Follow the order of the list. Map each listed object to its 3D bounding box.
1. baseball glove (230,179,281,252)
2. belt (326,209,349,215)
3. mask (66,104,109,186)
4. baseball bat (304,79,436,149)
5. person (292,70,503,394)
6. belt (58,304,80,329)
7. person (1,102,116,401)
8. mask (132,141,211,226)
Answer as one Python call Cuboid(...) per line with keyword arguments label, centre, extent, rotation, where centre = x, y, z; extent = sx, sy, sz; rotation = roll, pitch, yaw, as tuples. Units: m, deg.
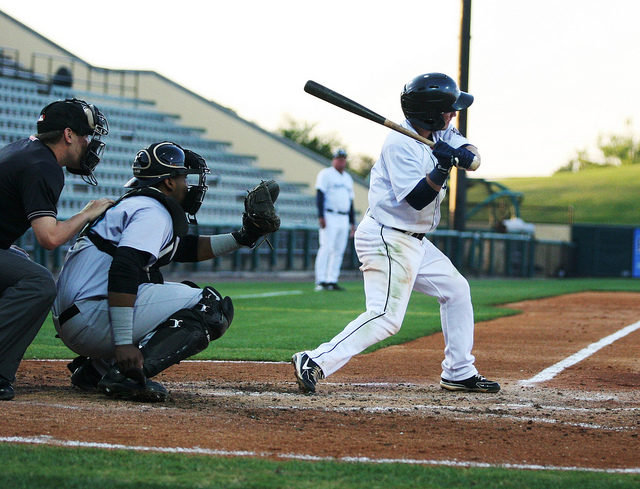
Cuboid(label="baseball glove", centre=(-0.427, -0.214, 7.496), extent=(0.280, 0.483, 0.282), rotation=(-9, 15, -41))
Cuboid(label="belt", centre=(0.228, -0.409, 13.988), extent=(0.287, 0.055, 0.087), rotation=(2, 1, -38))
Cuboid(label="mask", centre=(-1.498, -0.659, 7.337), extent=(0.289, 0.469, 0.366), rotation=(16, 2, -24))
Cuboid(label="baseball bat", centre=(0.421, -0.870, 7.845), extent=(0.079, 0.128, 1.733), rotation=(32, 10, 37))
Cuboid(label="person", centre=(0.689, -0.070, 7.768), extent=(1.242, 2.000, 1.514), rotation=(4, 1, 9))
Cuboid(label="belt", centre=(-1.593, 0.449, 6.947), extent=(0.128, 0.084, 0.122), rotation=(-29, 5, 26))
Cuboid(label="person", centre=(-1.760, 0.026, 7.056), extent=(0.648, 1.543, 0.440), rotation=(4, 1, -11))
Cuboid(label="mask", centre=(-0.975, -0.414, 7.063), extent=(0.529, 0.474, 0.455), rotation=(-8, 9, -25))
